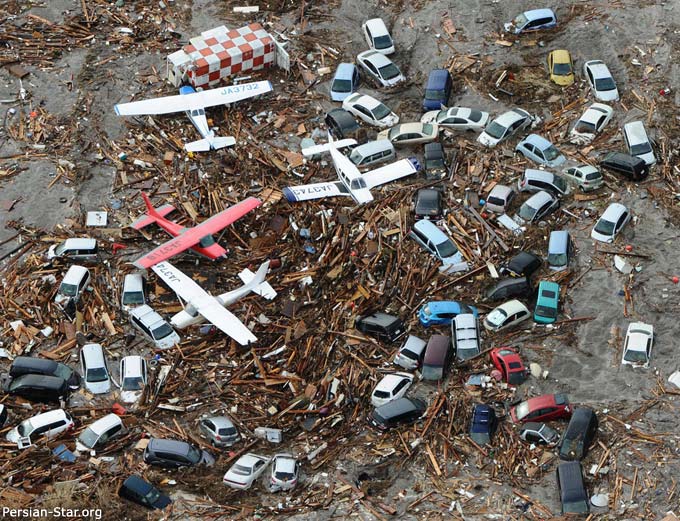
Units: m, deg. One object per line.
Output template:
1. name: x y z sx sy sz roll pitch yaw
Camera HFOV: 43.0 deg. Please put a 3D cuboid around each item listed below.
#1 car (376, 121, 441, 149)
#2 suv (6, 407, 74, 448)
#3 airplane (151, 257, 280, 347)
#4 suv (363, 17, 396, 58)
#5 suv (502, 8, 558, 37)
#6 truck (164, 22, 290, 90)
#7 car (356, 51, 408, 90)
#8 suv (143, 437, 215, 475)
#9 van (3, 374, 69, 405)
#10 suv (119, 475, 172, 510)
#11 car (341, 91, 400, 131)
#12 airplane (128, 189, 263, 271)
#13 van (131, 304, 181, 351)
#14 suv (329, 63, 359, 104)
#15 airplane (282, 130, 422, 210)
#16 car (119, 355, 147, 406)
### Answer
1. car: 2.975 -5.364 37.325 2.495 0.714 0.987 -3 59 5
2. suv: -10.710 6.053 31.271 2.127 0.753 1.017 -21 82 -11
3. airplane: -4.814 1.515 33.047 4.385 1.664 2.710 15 86 0
4. suv: 1.802 -10.284 40.182 1.285 0.873 1.795 -27 80 -2
5. suv: 8.745 -10.878 39.754 2.061 0.799 1.058 -7 76 6
6. truck: -5.167 -8.766 38.860 4.602 1.466 2.991 -17 55 -20
7. car: 1.837 -8.670 39.372 2.503 0.838 1.168 44 82 13
8. suv: -5.760 7.001 30.863 2.301 0.783 0.965 7 63 -8
9. van: -11.018 4.736 31.659 2.152 0.908 1.023 4 86 -1
10. suv: -6.697 8.132 29.970 1.823 0.729 0.800 33 80 0
11. car: 1.319 -6.525 38.313 2.698 0.916 1.205 32 75 9
12. airplane: -6.008 -1.230 34.379 3.451 1.126 4.424 36 58 25
13. van: -7.095 2.548 33.226 2.095 1.000 1.099 43 73 5
14. suv: 0.208 -7.889 38.922 1.102 0.843 1.835 10 72 9
15. airplane: 0.386 -3.419 36.401 4.462 1.033 2.997 -18 58 -10
16. car: -7.599 4.453 31.934 1.106 0.688 1.580 -2 86 -11
